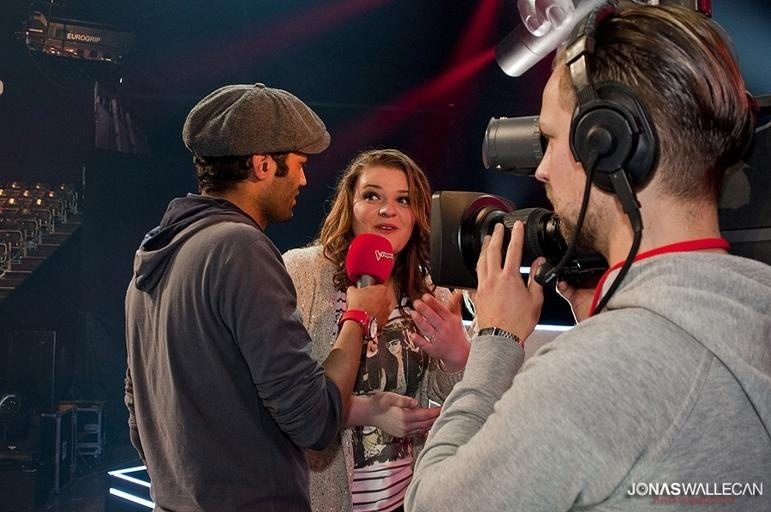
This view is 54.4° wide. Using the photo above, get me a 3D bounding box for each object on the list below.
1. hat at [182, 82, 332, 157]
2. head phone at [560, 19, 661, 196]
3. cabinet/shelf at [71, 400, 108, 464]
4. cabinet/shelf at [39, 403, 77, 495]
[{"bbox_3d":[-0.440,-0.480,2.566,0.504,0.206,0.361,-5,21,-14],"label":"hat"},{"bbox_3d":[0.560,-0.368,1.837,0.178,0.410,0.338,-17,-24,29],"label":"head phone"},{"bbox_3d":[-3.043,1.724,7.484,0.521,0.455,0.333,-11,-14,42],"label":"cabinet/shelf"},{"bbox_3d":[-2.889,1.701,6.630,0.220,0.679,0.790,1,-3,-16],"label":"cabinet/shelf"}]
